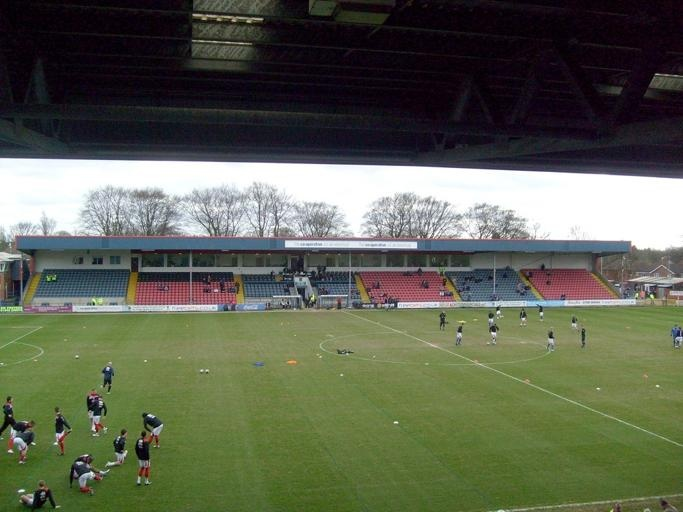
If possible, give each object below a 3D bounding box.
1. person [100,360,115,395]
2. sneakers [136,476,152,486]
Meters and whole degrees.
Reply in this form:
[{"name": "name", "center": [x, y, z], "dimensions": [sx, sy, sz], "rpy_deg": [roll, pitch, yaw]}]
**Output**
[{"name": "person", "center": [-11.189, 5.876, 31.854], "dimensions": [0.720, 1.637, 1.075], "rpy_deg": [6, 34, -12]}, {"name": "sneakers", "center": [-6.375, 7.294, 21.535], "dimensions": [0.593, 0.225, 0.189], "rpy_deg": [3, 3, -8]}]
